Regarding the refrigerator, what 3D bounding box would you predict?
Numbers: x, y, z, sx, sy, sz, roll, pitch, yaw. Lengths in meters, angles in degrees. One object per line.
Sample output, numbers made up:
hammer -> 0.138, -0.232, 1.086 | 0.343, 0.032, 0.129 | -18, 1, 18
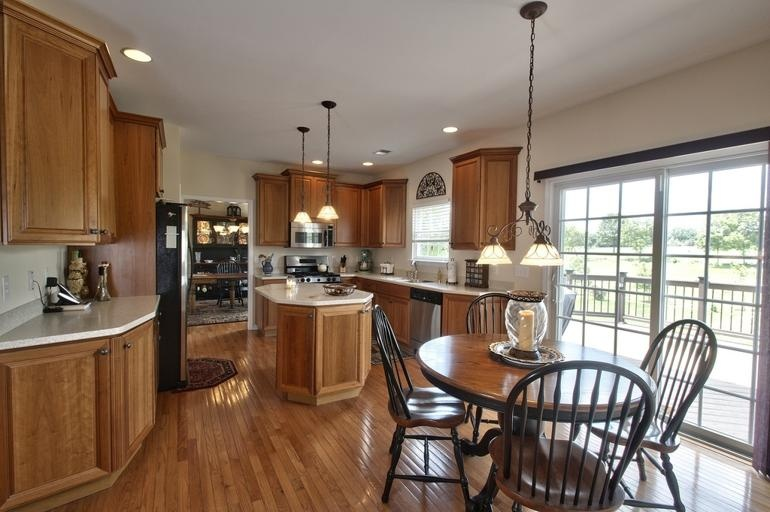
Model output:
refrigerator -> -2.234, 0.347, 5.381 | 0.377, 1.774, 0.346 | 4, 13, -6

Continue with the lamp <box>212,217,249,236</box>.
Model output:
lamp -> -3.243, -0.624, 10.465 | 0.564, 0.368, 0.283 | 2, -3, -39

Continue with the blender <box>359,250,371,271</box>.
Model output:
blender -> -0.328, 0.058, 8.468 | 0.204, 0.351, 0.243 | 1, 2, -4

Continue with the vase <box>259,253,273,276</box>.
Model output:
vase -> -1.747, 0.128, 7.562 | 0.245, 0.305, 0.251 | -1, 3, -35

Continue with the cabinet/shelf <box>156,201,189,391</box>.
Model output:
cabinet/shelf -> -2.223, 0.311, 5.381 | 0.367, 1.720, 0.338 | 7, 17, 0

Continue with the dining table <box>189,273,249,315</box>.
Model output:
dining table -> -3.090, 0.529, 9.315 | 0.806, 0.549, 1.023 | -1, 1, -22

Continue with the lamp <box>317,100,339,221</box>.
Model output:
lamp -> -0.655, -1.096, 5.800 | 0.306, 1.445, 0.306 | 2, -14, -13

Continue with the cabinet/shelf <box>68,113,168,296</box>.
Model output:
cabinet/shelf -> -2.623, -0.391, 5.378 | 0.575, 1.898, 0.875 | -2, -8, -23

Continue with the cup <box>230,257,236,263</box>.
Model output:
cup -> -3.169, 0.079, 10.512 | 0.135, 0.152, 0.136 | 1, 8, 0

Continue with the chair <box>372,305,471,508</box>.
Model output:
chair -> 0.328, 1.162, 4.152 | 0.874, 1.410, 0.868 | 3, 7, 22

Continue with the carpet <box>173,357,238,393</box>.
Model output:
carpet -> -2.067, 1.326, 5.738 | 0.713, 0.012, 0.743 | -5, -35, -17

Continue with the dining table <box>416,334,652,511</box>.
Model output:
dining table -> 0.974, 0.961, 4.097 | 1.375, 0.868, 1.432 | -4, 12, -27

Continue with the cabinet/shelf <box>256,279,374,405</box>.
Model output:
cabinet/shelf -> -0.814, 0.974, 5.724 | 1.233, 1.026, 1.602 | 1, 0, -14

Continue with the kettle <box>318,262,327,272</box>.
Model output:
kettle -> -0.976, 0.193, 7.859 | 0.117, 0.094, 0.116 | 5, -6, -40
